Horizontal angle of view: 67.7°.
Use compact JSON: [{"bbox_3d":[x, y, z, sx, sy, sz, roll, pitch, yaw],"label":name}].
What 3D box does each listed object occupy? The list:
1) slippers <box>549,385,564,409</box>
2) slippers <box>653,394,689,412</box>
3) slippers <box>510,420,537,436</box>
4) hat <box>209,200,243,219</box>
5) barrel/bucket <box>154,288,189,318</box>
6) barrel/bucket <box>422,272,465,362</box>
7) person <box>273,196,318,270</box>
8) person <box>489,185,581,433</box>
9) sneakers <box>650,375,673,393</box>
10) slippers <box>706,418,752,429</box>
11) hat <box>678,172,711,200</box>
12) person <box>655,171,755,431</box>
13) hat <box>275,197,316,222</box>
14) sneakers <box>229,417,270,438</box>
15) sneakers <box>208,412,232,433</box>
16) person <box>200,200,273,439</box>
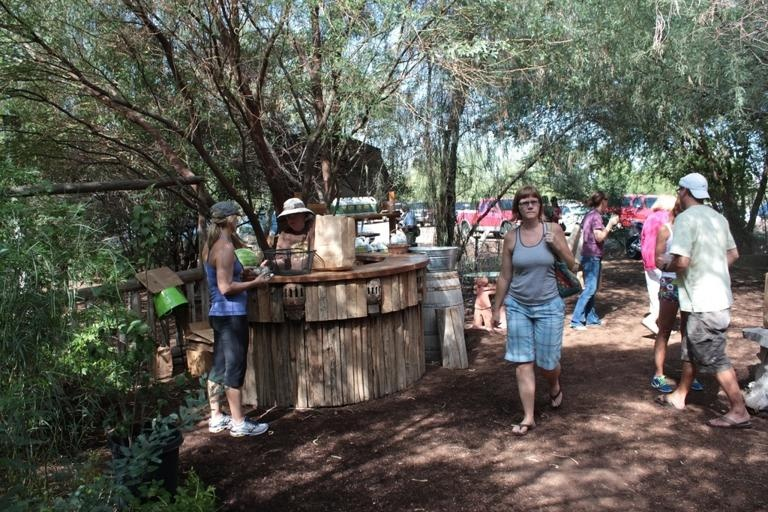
[{"bbox_3d":[1.997,1.665,6.711,0.105,0.327,0.071,4,-1,30],"label":"slippers"},{"bbox_3d":[3.288,1.662,6.585,0.149,0.141,0.307,7,6,-31],"label":"slippers"},{"bbox_3d":[1.522,1.846,6.245,0.315,0.130,0.144,-6,13,-16],"label":"slippers"},{"bbox_3d":[-1.786,-0.520,6.393,0.293,0.159,0.269,-8,14,-25],"label":"hat"},{"bbox_3d":[-2.538,0.567,6.803,0.342,0.384,0.317,-2,13,0],"label":"barrel/bucket"},{"bbox_3d":[0.866,0.903,8.321,0.622,1.365,0.496,-1,12,4],"label":"barrel/bucket"},{"bbox_3d":[-1.140,-0.199,7.211,0.605,0.992,0.524,2,-27,-7],"label":"person"},{"bbox_3d":[1.600,0.583,6.255,0.799,2.614,0.695,2,13,18],"label":"person"},{"bbox_3d":[3.400,1.576,7.080,0.121,0.152,0.314,-11,1,-17],"label":"sneakers"},{"bbox_3d":[3.695,1.755,6.161,0.384,0.114,0.168,0,-6,10],"label":"slippers"},{"bbox_3d":[3.460,-0.787,6.517,0.246,0.224,0.381,-5,29,-15],"label":"hat"},{"bbox_3d":[3.542,0.456,6.347,0.861,2.638,0.959,0,13,10],"label":"person"},{"bbox_3d":[-1.124,-0.594,7.250,0.270,0.164,0.301,-9,-3,5],"label":"hat"},{"bbox_3d":[-1.535,1.944,6.554,0.406,0.211,0.183,1,3,-12],"label":"sneakers"},{"bbox_3d":[-1.907,1.922,6.605,0.127,0.166,0.314,3,5,31],"label":"sneakers"},{"bbox_3d":[-1.713,0.720,6.438,0.741,2.599,0.642,-7,13,-20],"label":"person"}]
